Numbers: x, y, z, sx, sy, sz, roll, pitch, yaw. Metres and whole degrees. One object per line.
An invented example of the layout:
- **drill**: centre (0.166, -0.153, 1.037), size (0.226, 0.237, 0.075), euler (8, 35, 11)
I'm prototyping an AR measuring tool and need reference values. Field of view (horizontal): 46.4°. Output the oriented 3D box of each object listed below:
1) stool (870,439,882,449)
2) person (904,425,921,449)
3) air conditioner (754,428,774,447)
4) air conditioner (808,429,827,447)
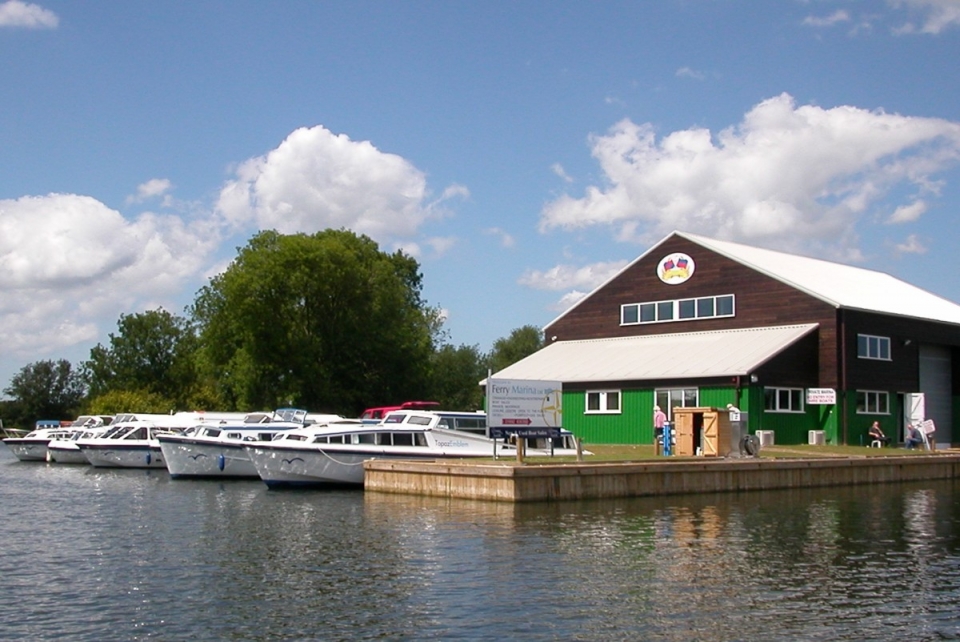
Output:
- **stool**: centre (21.055, 6.576, 59.523), size (0.530, 0.540, 0.550), euler (0, -3, 41)
- **person**: centre (22.602, 6.054, 58.387), size (0.673, 1.259, 1.515), euler (-4, -10, 21)
- **air conditioner**: centre (14.308, 5.955, 56.398), size (0.823, 0.945, 1.884), euler (-3, -10, 18)
- **air conditioner**: centre (17.673, 6.194, 58.944), size (1.145, 1.171, 0.649), euler (1, -10, 5)
